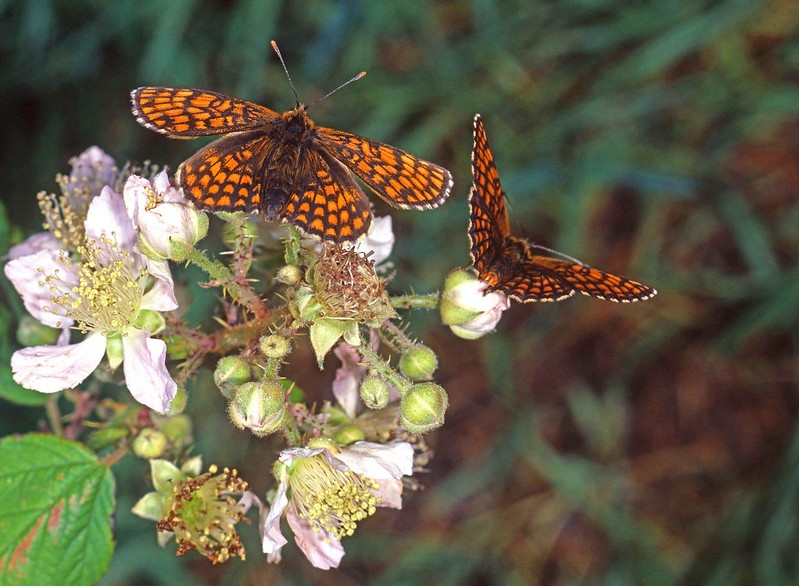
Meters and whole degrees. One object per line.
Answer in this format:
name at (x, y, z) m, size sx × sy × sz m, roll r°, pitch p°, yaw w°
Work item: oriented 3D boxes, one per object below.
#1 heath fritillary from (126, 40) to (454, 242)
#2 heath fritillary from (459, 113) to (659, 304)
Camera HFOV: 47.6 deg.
heath fritillary at (-0.395, -0.422, 3.147) m, size 1.045 × 0.174 × 0.679 m, roll 23°, pitch 66°, yaw 1°
heath fritillary at (0.613, -0.298, 3.366) m, size 0.374 × 0.662 × 0.239 m, roll 20°, pitch 71°, yaw 40°
